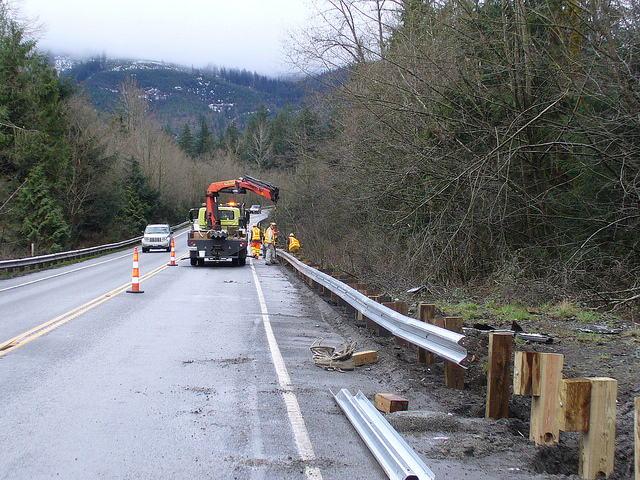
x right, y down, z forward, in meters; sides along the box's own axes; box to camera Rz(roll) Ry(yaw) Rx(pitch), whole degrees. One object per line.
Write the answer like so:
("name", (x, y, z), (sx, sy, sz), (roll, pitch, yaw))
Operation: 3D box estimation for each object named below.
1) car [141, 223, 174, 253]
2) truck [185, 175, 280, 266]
("car", (-12.037, -0.118, 41.767), (2.011, 1.962, 1.925), (-2, 7, -17))
("truck", (-4.375, -1.368, 27.793), (5.819, 3.107, 2.068), (2, 11, 23))
